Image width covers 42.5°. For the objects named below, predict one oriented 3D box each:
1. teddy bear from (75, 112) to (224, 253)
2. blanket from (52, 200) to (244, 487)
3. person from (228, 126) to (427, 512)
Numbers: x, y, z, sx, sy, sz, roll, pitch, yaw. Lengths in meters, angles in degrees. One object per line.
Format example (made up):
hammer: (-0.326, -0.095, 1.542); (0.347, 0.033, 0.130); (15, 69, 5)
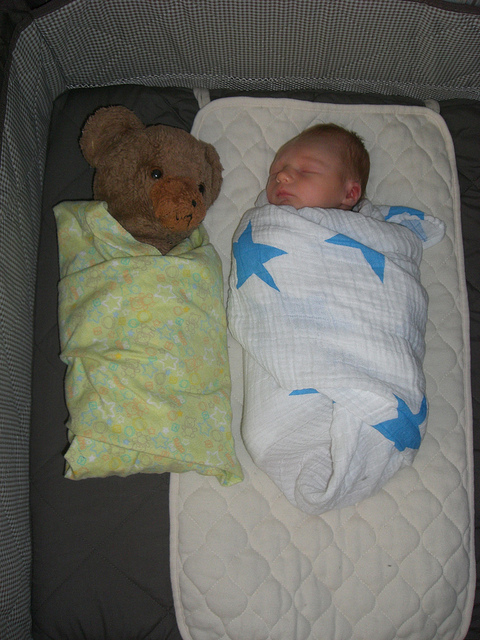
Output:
teddy bear: (-0.177, -0.248, 1.165); (0.296, 0.207, 0.242); (11, 97, -33)
blanket: (-0.180, -0.001, 1.108); (0.403, 0.148, 0.514); (-3, 87, -13)
person: (0.168, -0.028, 1.162); (0.424, 0.184, 0.696); (1, 81, 4)
